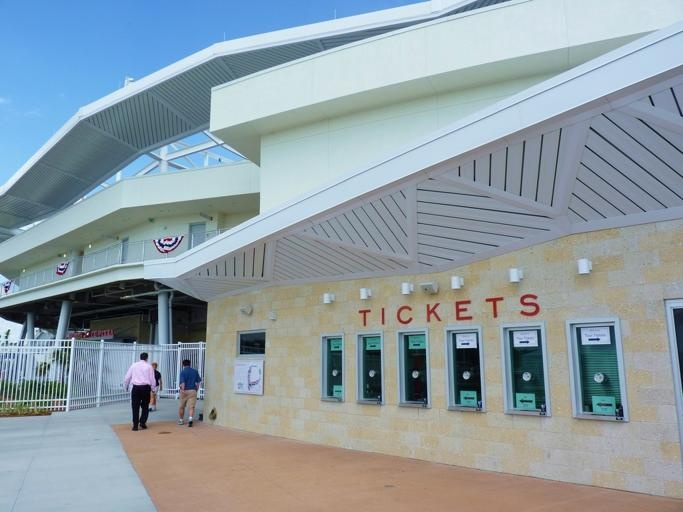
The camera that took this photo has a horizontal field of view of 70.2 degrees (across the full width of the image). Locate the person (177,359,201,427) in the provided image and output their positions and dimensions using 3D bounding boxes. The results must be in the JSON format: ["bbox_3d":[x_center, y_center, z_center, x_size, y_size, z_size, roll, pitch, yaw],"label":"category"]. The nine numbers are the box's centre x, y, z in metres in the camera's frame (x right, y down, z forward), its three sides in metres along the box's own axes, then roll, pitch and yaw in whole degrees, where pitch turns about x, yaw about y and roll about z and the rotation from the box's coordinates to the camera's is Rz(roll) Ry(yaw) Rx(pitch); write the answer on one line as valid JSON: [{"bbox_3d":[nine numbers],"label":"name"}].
[{"bbox_3d":[-4.249,3.787,13.582,0.535,1.775,0.954,5,-13,-14],"label":"person"}]

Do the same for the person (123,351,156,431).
[{"bbox_3d":[-5.280,3.552,12.863,0.882,1.858,0.703,7,-23,-24],"label":"person"}]
